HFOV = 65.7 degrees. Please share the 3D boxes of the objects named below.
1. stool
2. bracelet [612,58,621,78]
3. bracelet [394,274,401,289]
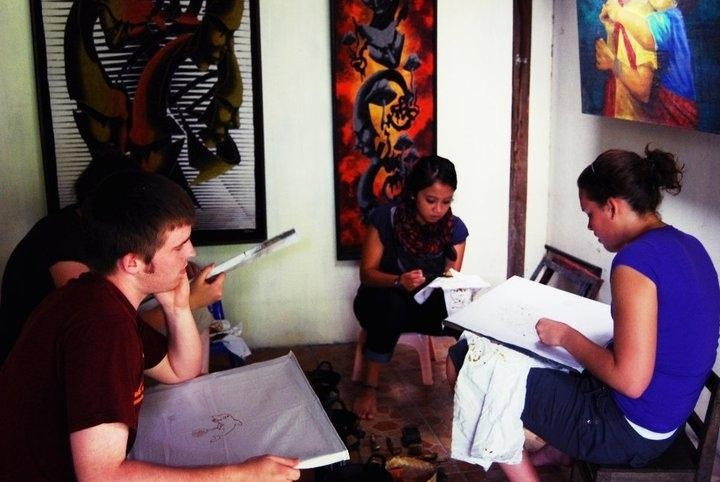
[{"bbox_3d":[0.206,0.696,3.600,0.390,0.277,0.397,0,1,-6],"label":"stool"},{"bbox_3d":[1.414,-0.971,3.102,0.019,0.075,0.054,-3,2,11],"label":"bracelet"},{"bbox_3d":[0.214,0.232,3.188,0.040,0.085,0.103,-4,9,2],"label":"bracelet"}]
